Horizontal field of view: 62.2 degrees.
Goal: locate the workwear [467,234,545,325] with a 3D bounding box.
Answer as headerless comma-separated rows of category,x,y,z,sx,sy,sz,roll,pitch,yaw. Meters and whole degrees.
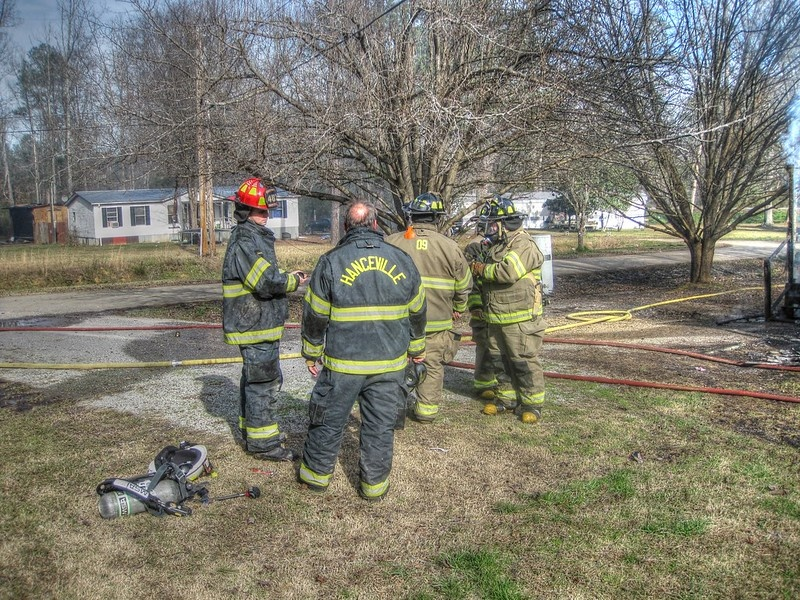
workwear,1.238,-0.224,7.808,0.890,1.209,0.967,-1,1,-16

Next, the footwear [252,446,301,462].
footwear,-1.192,1.470,6.407,0.427,0.187,0.160,-3,10,-10

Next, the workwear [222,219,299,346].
workwear,-1.367,-0.152,6.392,0.702,1.209,0.453,-4,9,-16

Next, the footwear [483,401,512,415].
footwear,1.091,1.241,7.593,0.319,0.152,0.146,9,-1,-23

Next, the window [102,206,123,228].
window,-15.481,-4.437,35.534,0.376,1.039,1.063,7,10,38

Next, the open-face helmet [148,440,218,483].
open-face helmet,-1.957,1.462,5.951,0.417,0.242,0.351,-4,10,-7

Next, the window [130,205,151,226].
window,-14.420,-4.621,36.790,0.324,1.102,1.114,3,10,29

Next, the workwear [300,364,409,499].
workwear,-0.397,1.220,6.008,0.799,1.448,0.441,12,20,-16

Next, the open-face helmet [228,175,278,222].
open-face helmet,-1.425,-0.993,6.432,0.426,0.387,0.388,-1,26,-9

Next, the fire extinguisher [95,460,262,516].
fire extinguisher,-2.052,1.582,5.737,0.884,0.333,0.445,-5,-2,-18
